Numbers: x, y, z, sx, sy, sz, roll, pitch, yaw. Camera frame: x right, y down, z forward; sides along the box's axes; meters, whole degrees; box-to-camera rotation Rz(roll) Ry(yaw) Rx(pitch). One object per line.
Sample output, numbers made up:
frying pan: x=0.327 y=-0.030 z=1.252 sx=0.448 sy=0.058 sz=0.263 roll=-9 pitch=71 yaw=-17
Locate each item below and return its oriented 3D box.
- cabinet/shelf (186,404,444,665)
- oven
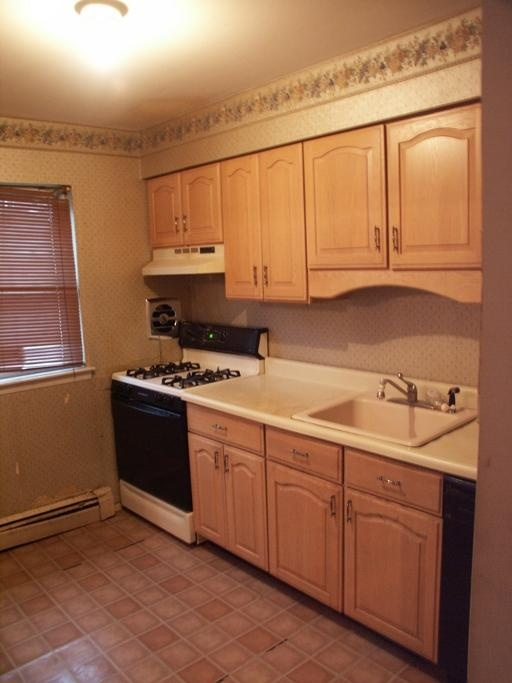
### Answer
cabinet/shelf: x=0.252 y=0.764 z=2.083 sx=0.884 sy=0.422 sz=0.270 roll=8 pitch=8 yaw=44
oven: x=-0.473 y=0.581 z=3.242 sx=0.601 sy=0.842 sz=0.672 roll=-11 pitch=17 yaw=-42
